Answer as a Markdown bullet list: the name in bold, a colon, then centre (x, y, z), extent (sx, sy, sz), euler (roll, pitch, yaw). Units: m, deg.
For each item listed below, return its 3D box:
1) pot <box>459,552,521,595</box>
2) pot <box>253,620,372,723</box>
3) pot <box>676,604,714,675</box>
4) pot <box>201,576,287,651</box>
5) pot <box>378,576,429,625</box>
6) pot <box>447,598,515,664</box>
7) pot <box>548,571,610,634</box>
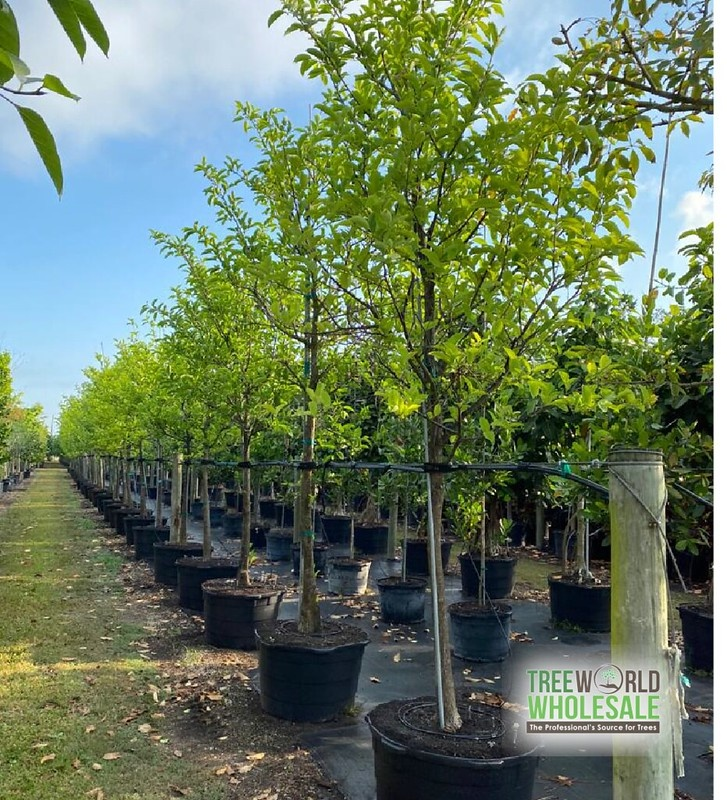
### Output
- **pot**: centre (1.409, 2.047, 8.370), extent (0.644, 0.525, 1.310), euler (1, -10, 11)
- **pot**: centre (-0.356, 1.804, 4.792), extent (0.751, 0.557, 0.680), euler (4, -10, -2)
- **pot**: centre (2.759, 2.001, 6.059), extent (0.244, 0.532, 0.408), euler (-1, -11, 23)
- **pot**: centre (-1.021, 1.835, 6.346), extent (0.649, 0.365, 0.626), euler (2, -14, 0)
- **pot**: centre (0.409, 2.111, 7.641), extent (0.473, 0.317, 0.455), euler (1, -11, 0)
- **pot**: centre (1.004, 2.024, 6.315), extent (0.535, 0.489, 0.721), euler (2, -10, 8)
- **pot**: centre (2.163, 2.073, 7.332), extent (0.687, 0.505, 0.379), euler (-4, -13, 34)
